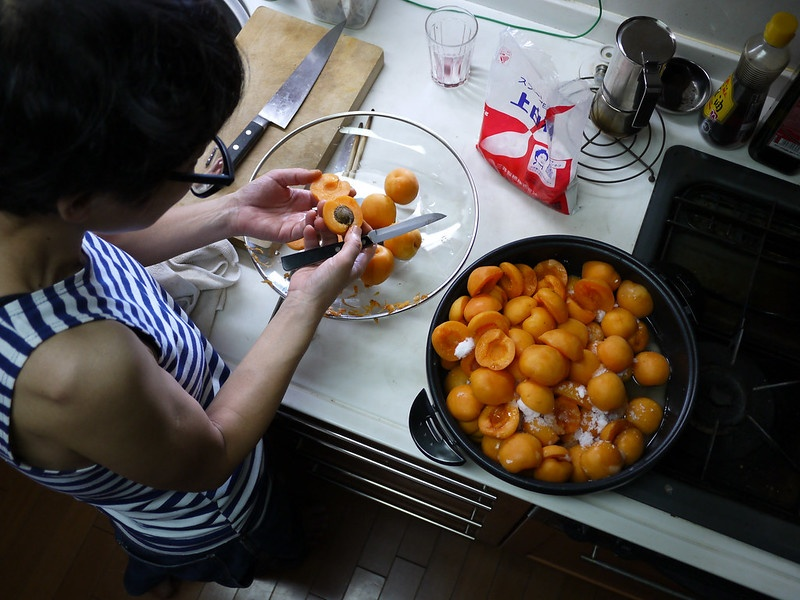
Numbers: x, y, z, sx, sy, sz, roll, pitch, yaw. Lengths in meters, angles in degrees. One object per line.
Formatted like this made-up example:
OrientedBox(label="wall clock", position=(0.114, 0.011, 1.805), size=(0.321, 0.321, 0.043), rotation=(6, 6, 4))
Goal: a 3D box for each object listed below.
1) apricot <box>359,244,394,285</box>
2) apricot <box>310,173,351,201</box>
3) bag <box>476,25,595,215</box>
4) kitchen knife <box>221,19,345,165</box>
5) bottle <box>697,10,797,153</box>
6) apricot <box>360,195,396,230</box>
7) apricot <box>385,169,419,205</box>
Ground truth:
OrientedBox(label="apricot", position=(-0.049, -0.085, 1.377), size=(0.067, 0.090, 0.074), rotation=(-15, 40, -24))
OrientedBox(label="apricot", position=(-0.155, -0.242, 1.371), size=(0.070, 0.027, 0.065), rotation=(-40, 72, -22))
OrientedBox(label="bag", position=(0.280, -0.377, 1.336), size=(0.244, 0.335, 0.105), rotation=(31, 61, 13))
OrientedBox(label="kitchen knife", position=(-0.251, -0.448, 1.391), size=(0.063, 0.034, 0.492), rotation=(30, 79, 7))
OrientedBox(label="bottle", position=(0.733, -0.468, 1.332), size=(0.120, 0.291, 0.080), rotation=(17, 56, 18))
OrientedBox(label="apricot", position=(-0.043, -0.193, 1.407), size=(0.068, 0.091, 0.066), rotation=(-24, 27, -32))
OrientedBox(label="apricot", position=(0.006, -0.250, 1.371), size=(0.062, 0.069, 0.078), rotation=(1, 72, 5))
